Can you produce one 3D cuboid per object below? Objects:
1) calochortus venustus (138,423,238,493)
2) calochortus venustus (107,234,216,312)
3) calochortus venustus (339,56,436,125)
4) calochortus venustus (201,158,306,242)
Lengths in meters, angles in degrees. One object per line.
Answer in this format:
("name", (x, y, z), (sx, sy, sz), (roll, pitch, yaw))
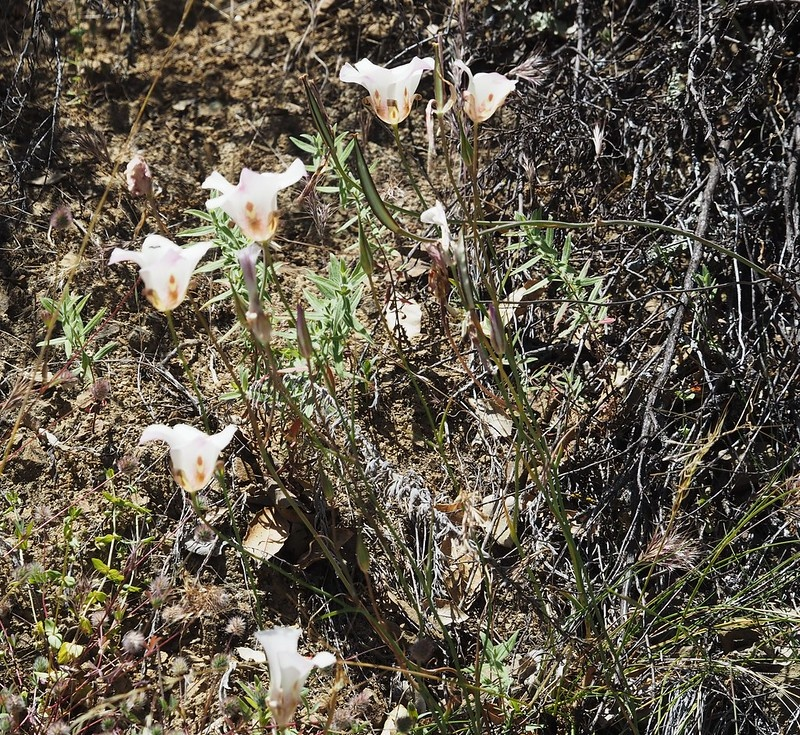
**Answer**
("calochortus venustus", (-0.472, 0.193, 1.856), (0.159, 0.111, 0.163), (1, 8, -21))
("calochortus venustus", (-0.532, -0.215, 1.853), (0.176, 0.118, 0.177), (-15, 19, -38))
("calochortus venustus", (-0.033, -0.665, 2.139), (0.170, 0.138, 0.193), (-2, 13, 1))
("calochortus venustus", (-0.324, -0.367, 1.939), (0.189, 0.157, 0.189), (-27, 24, -27))
